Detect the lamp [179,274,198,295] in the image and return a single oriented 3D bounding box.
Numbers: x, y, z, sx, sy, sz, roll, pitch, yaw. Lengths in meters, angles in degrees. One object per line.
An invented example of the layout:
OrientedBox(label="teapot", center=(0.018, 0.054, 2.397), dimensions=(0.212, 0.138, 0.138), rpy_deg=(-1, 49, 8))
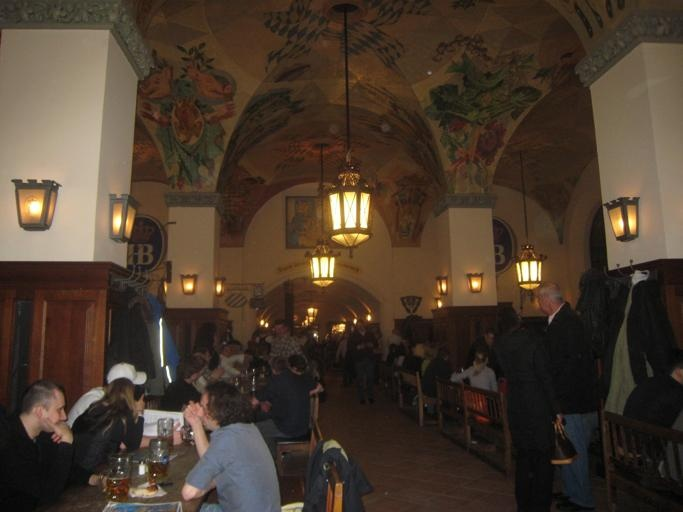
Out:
OrientedBox(label="lamp", center=(-3.041, 0.579, 11.598), dimensions=(0.379, 0.449, 0.354), rpy_deg=(-1, -15, -2))

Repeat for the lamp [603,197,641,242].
OrientedBox(label="lamp", center=(3.529, -0.454, 7.196), dimensions=(0.270, 0.538, 0.385), rpy_deg=(1, -7, -19))

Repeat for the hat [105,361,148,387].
OrientedBox(label="hat", center=(-2.062, 1.203, 5.561), dimensions=(0.273, 0.172, 0.400), rpy_deg=(20, 5, 20))

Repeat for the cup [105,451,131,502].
OrientedBox(label="cup", center=(-1.771, 1.748, 4.510), dimensions=(0.175, 0.360, 0.150), rpy_deg=(1, -6, -18))

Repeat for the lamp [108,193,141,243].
OrientedBox(label="lamp", center=(-2.616, -0.476, 6.858), dimensions=(0.283, 0.595, 0.421), rpy_deg=(0, -6, -8))

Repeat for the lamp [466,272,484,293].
OrientedBox(label="lamp", center=(2.812, 0.575, 12.105), dimensions=(0.372, 0.391, 0.355), rpy_deg=(0, -11, 2))

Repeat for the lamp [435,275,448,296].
OrientedBox(label="lamp", center=(2.280, 0.652, 12.828), dimensions=(0.428, 0.464, 0.357), rpy_deg=(-1, -10, 7))
